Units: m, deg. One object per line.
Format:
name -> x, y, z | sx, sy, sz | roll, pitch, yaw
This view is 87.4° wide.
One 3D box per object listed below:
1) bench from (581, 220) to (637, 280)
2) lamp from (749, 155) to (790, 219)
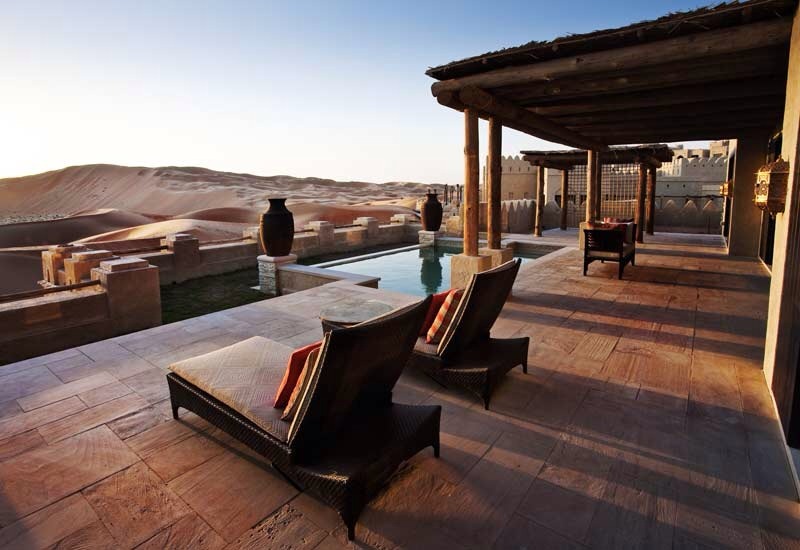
bench -> 4.369, -0.584, 8.791 | 0.801, 1.032, 1.451 | 10, 15, 33
lamp -> 3.756, -0.895, 4.239 | 0.259, 0.577, 0.517 | 11, 16, 37
